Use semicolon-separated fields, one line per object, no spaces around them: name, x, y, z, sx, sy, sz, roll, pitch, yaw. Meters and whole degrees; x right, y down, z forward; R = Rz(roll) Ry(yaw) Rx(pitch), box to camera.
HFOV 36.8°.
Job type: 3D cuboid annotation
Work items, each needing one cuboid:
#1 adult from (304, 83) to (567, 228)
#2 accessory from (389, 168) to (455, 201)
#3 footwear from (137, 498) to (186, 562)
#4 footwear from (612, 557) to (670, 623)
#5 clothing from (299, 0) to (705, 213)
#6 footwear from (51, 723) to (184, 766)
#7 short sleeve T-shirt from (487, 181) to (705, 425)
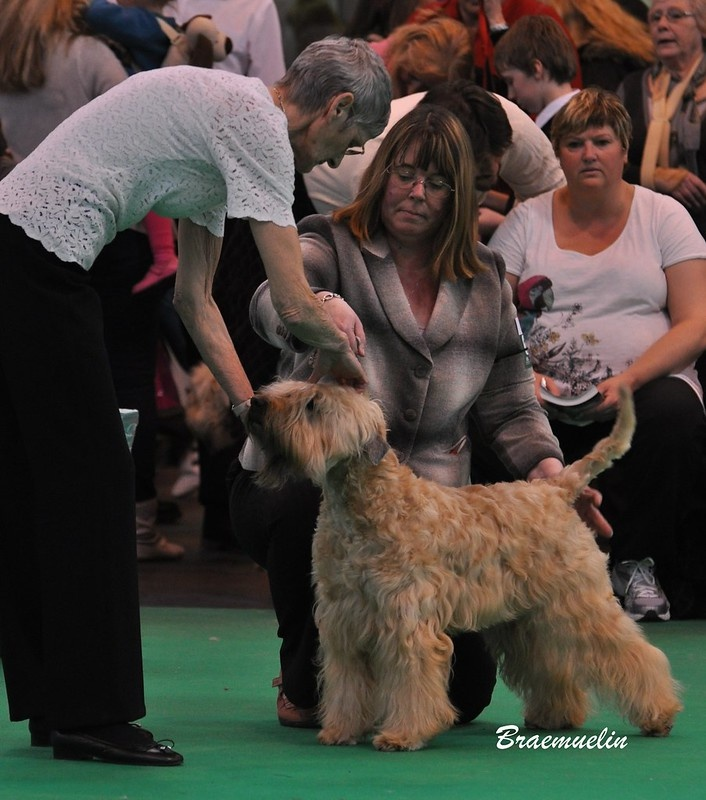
adult;0.485;-1.026;4.492;0.815;0.326;1.025;4;-7;-20
accessory;0.191;-0.606;2.951;0.118;0.033;0.108;17;-9;-2
footwear;-1.035;0.694;5.444;0.362;0.290;0.150;8;-18;-44
footwear;1.172;0.776;4.253;0.155;0.147;0.360;-3;-1;-2
clothing;0.709;-1.186;4.377;2.127;0.553;0.625;-13;30;2
footwear;-0.533;0.785;2.470;0.350;0.108;0.104;-1;0;-2
short sleeve T-shirt;1.008;-0.367;4.299;1.244;0.959;0.619;-1;5;7
